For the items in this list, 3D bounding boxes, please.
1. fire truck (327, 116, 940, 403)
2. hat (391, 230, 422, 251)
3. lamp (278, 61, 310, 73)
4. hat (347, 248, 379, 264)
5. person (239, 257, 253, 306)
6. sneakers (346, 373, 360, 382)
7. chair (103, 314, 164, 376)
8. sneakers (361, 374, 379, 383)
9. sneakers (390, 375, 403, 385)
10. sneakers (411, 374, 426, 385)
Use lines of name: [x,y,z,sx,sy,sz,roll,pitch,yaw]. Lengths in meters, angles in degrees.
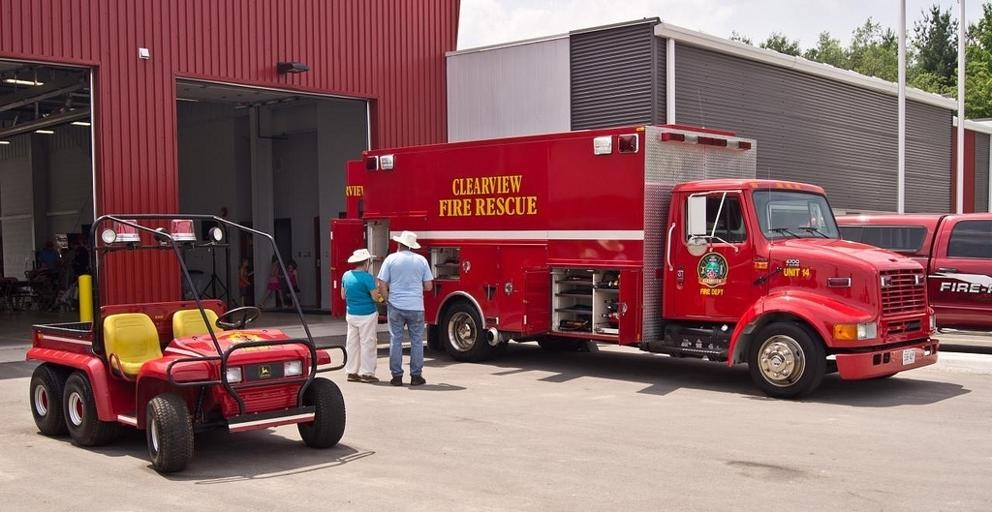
fire truck: [3.086,-0.319,19.382,5.368,5.244,14.797,-7,6,-44]
hat: [-2.041,-0.382,16.850,0.666,0.240,0.660,11,9,-16]
lamp: [-6.457,-6.021,23.520,1.010,0.454,0.511,-4,10,-23]
hat: [-2.983,0.015,16.585,0.594,0.154,0.572,-7,-6,6]
person: [-10.705,1.080,31.755,0.589,1.952,1.082,-4,10,-19]
sneakers: [-3.234,2.748,16.733,0.145,0.111,0.288,2,2,30]
chair: [-6.470,1.506,13.190,1.061,1.155,1.264,-2,-3,42]
sneakers: [-2.839,2.773,16.635,0.422,0.159,0.145,1,0,-5]
sneakers: [-2.209,2.727,16.333,0.259,0.246,0.224,-2,9,-6]
sneakers: [-1.723,2.733,16.348,0.149,0.255,0.405,3,6,29]
